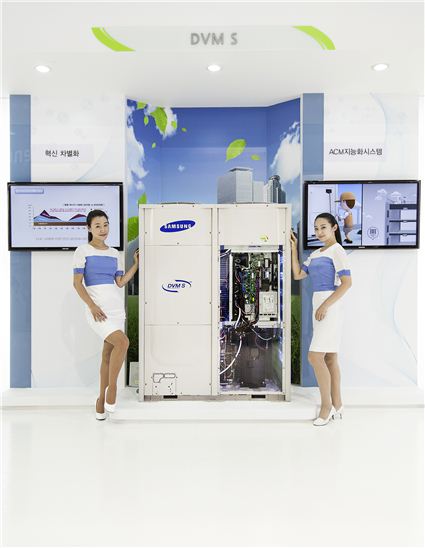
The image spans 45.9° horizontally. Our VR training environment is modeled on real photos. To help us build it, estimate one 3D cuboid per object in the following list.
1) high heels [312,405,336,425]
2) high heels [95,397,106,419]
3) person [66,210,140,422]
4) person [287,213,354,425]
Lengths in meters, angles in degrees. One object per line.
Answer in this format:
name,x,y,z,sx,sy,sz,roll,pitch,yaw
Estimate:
high heels,0.834,1.048,3.739,0.080,0.110,0.213,-14,-8,41
high heels,-0.861,1.021,3.829,0.085,0.165,0.071,0,5,1
person,-0.819,0.293,3.932,0.460,1.583,0.471,2,6,19
person,0.816,0.312,3.846,0.371,1.558,0.484,-1,5,-11
